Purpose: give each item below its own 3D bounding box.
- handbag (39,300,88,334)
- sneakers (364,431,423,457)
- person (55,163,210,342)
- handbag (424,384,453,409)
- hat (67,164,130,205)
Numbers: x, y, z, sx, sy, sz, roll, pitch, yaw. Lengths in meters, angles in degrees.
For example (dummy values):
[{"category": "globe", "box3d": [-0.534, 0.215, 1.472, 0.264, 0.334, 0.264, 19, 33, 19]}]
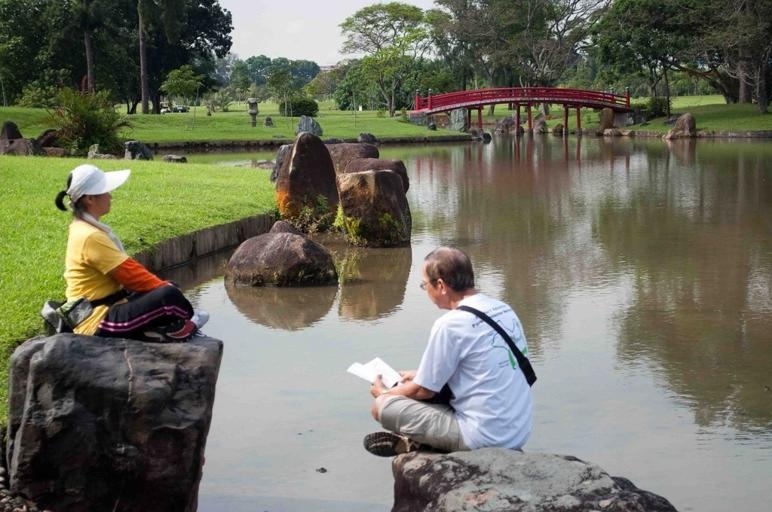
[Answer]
[{"category": "handbag", "box3d": [-3.017, 0.566, 8.808, 0.480, 0.328, 0.198, 1, 5, 20]}, {"category": "sneakers", "box3d": [0.009, 1.790, 8.836, 0.624, 0.226, 0.287, 6, -1, 21]}, {"category": "person", "box3d": [-2.496, -0.027, 8.857, 1.092, 1.659, 0.332, -1, 5, 1]}, {"category": "handbag", "box3d": [0.468, 1.257, 8.343, 0.197, 0.107, 0.199, -7, 1, 43]}, {"category": "hat", "box3d": [-2.743, -0.664, 8.935, 0.515, 0.228, 0.375, -14, 31, -4]}]
